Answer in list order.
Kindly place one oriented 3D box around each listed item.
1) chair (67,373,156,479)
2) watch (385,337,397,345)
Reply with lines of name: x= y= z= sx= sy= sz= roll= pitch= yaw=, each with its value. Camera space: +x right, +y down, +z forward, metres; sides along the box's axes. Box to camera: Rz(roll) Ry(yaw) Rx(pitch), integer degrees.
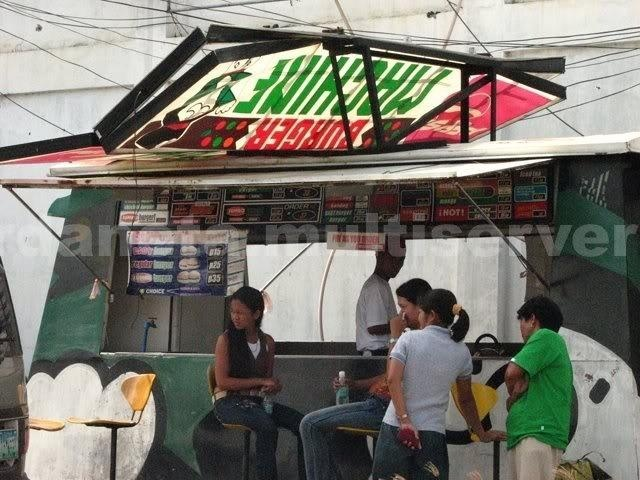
chair: x=-1.926 y=1.864 z=9.199 sx=0.609 sy=1.076 sz=0.987 roll=1 pitch=-5 yaw=-6
watch: x=0.734 y=1.023 z=9.381 sx=0.023 sy=0.075 sz=0.068 roll=20 pitch=-17 yaw=-40
